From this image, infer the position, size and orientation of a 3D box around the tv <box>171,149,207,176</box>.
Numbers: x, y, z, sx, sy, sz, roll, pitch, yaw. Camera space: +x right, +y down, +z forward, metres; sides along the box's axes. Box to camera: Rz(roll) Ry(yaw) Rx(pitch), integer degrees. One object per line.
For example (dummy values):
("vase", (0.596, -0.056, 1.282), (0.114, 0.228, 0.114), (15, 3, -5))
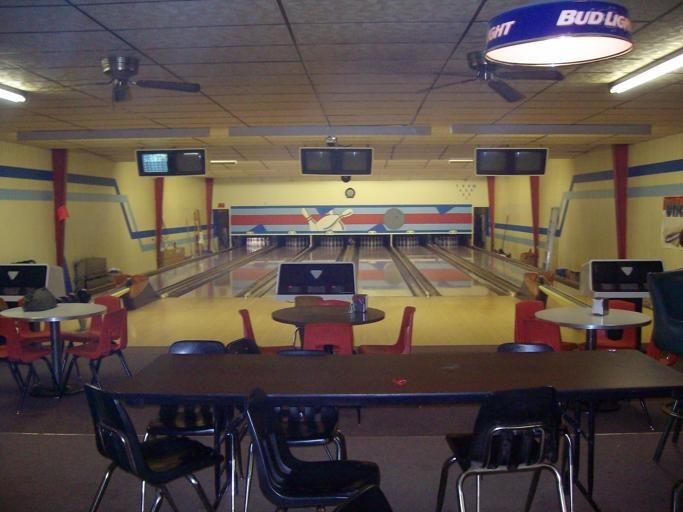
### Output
("tv", (-1.998, -1.224, 6.482), (0.444, 0.298, 0.203), (0, 2, 4))

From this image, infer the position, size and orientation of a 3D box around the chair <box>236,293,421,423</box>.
("chair", (-0.069, 0.760, 3.730), (1.199, 0.478, 1.061), (0, -1, -2))

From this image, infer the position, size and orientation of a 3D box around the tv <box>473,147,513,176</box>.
("tv", (2.005, -1.232, 6.651), (0.726, 0.407, 0.347), (0, 6, 8))

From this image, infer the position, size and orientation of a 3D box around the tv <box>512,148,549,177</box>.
("tv", (2.473, -1.231, 6.591), (0.723, 0.403, 0.327), (1, 8, 5))

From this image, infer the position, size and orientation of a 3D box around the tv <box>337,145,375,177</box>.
("tv", (0.220, -1.263, 6.678), (0.441, 0.275, 0.399), (0, 9, 4))

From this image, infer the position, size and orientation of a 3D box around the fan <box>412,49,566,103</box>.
("fan", (1.148, -1.320, 3.674), (0.688, 0.161, 0.708), (6, 10, 31))

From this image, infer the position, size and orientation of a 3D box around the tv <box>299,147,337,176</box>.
("tv", (-0.290, -1.214, 6.522), (0.676, 0.377, 0.308), (1, 9, 2))
